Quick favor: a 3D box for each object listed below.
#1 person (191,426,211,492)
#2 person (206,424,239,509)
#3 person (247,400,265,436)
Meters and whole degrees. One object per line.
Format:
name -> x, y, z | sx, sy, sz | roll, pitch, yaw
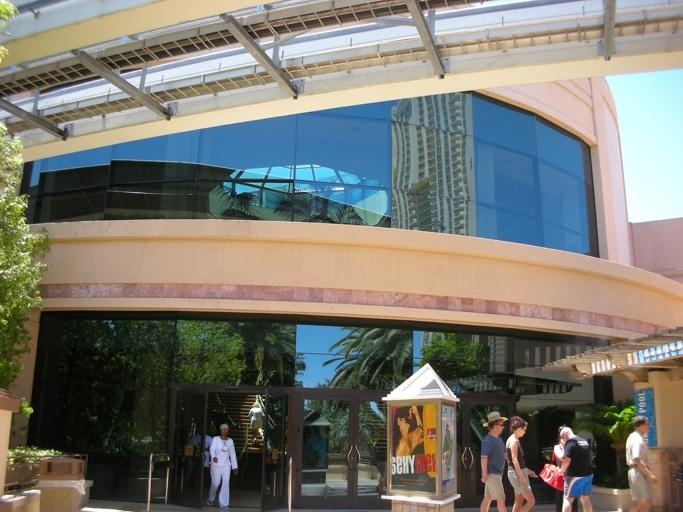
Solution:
person -> -3.721, 5.333, 16.150 | 0.445, 1.473, 1.380 | 2, -16, -8
person -> -3.155, 5.480, 16.148 | 0.699, 2.023, 1.106 | 3, -17, -11
person -> -2.336, 4.442, 16.750 | 0.399, 0.871, 0.304 | -1, 10, -7
